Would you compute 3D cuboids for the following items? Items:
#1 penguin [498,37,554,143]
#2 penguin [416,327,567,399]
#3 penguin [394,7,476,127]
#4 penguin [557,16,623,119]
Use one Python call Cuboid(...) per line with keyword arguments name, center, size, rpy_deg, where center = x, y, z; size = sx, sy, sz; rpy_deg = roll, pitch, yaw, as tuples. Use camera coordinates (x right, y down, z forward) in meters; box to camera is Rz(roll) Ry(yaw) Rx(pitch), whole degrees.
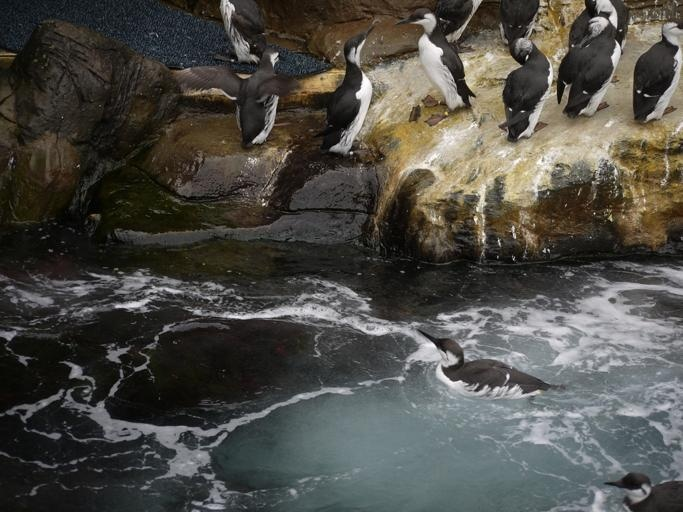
Cuboid(name="penguin", center=(2.150, -1.899, 8.508), size=(0.930, 1.033, 0.692), rpy_deg=(4, 22, 13))
Cuboid(name="penguin", center=(1.351, 1.042, 6.690), size=(1.172, 0.517, 0.337), rpy_deg=(4, 11, 14))
Cuboid(name="penguin", center=(1.211, -2.462, 9.441), size=(1.159, 1.404, 0.871), rpy_deg=(5, 24, 17))
Cuboid(name="penguin", center=(2.978, -2.271, 8.694), size=(0.925, 1.019, 0.714), rpy_deg=(7, 22, 20))
